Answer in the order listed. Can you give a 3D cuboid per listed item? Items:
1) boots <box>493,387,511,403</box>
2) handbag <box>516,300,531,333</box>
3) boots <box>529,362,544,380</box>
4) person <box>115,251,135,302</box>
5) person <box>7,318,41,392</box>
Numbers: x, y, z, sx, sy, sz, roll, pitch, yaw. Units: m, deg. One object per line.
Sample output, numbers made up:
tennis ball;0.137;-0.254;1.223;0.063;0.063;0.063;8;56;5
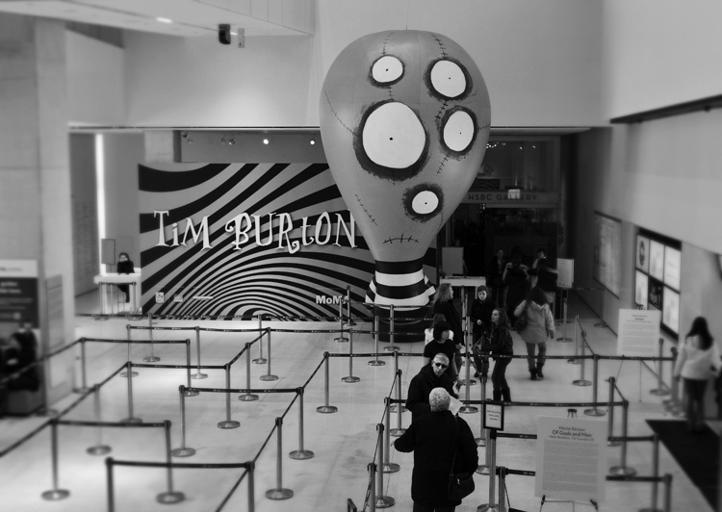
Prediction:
boots;2.205;2.125;10.819;0.254;0.204;0.359;6;-9;-27
handbag;2.787;1.038;12.084;0.133;0.449;0.314;9;7;2
boots;3.092;2.030;12.366;0.152;0.337;0.427;2;11;17
person;-6.075;0.548;17.834;0.409;1.132;2.020;4;-8;-19
person;-5.322;1.576;10.943;0.564;1.041;0.329;4;-8;-22
